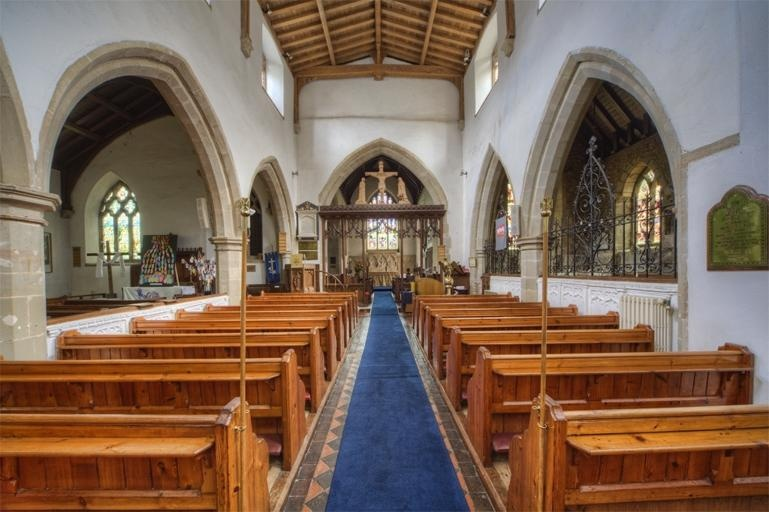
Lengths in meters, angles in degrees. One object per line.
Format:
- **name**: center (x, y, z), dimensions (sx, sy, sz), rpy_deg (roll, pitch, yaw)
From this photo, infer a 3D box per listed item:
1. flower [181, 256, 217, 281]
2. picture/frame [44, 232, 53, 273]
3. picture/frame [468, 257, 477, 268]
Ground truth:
- **flower**: center (-4.190, 0.290, 13.556), dimensions (0.871, 0.653, 0.913), rpy_deg (-2, -6, 22)
- **picture/frame**: center (-8.809, -0.081, 15.297), dimensions (0.112, 1.068, 0.284), rpy_deg (-1, -2, 1)
- **picture/frame**: center (2.509, 0.187, 16.565), dimensions (0.241, 0.372, 0.256), rpy_deg (1, -5, 2)
